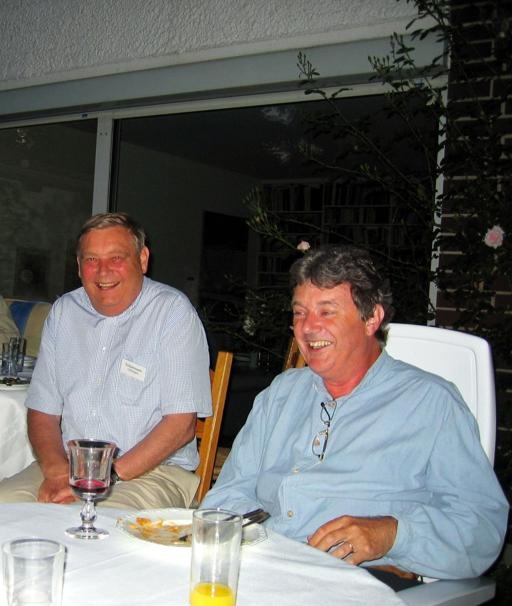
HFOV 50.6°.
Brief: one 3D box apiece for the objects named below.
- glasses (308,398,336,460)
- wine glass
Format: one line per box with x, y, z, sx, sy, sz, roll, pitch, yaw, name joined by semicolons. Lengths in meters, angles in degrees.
0.149;0.298;1.290;0.055;0.144;0.018;1;-35;15;glasses
-0.308;0.336;0.968;0.108;0.147;0.092;-9;-26;5;wine glass
